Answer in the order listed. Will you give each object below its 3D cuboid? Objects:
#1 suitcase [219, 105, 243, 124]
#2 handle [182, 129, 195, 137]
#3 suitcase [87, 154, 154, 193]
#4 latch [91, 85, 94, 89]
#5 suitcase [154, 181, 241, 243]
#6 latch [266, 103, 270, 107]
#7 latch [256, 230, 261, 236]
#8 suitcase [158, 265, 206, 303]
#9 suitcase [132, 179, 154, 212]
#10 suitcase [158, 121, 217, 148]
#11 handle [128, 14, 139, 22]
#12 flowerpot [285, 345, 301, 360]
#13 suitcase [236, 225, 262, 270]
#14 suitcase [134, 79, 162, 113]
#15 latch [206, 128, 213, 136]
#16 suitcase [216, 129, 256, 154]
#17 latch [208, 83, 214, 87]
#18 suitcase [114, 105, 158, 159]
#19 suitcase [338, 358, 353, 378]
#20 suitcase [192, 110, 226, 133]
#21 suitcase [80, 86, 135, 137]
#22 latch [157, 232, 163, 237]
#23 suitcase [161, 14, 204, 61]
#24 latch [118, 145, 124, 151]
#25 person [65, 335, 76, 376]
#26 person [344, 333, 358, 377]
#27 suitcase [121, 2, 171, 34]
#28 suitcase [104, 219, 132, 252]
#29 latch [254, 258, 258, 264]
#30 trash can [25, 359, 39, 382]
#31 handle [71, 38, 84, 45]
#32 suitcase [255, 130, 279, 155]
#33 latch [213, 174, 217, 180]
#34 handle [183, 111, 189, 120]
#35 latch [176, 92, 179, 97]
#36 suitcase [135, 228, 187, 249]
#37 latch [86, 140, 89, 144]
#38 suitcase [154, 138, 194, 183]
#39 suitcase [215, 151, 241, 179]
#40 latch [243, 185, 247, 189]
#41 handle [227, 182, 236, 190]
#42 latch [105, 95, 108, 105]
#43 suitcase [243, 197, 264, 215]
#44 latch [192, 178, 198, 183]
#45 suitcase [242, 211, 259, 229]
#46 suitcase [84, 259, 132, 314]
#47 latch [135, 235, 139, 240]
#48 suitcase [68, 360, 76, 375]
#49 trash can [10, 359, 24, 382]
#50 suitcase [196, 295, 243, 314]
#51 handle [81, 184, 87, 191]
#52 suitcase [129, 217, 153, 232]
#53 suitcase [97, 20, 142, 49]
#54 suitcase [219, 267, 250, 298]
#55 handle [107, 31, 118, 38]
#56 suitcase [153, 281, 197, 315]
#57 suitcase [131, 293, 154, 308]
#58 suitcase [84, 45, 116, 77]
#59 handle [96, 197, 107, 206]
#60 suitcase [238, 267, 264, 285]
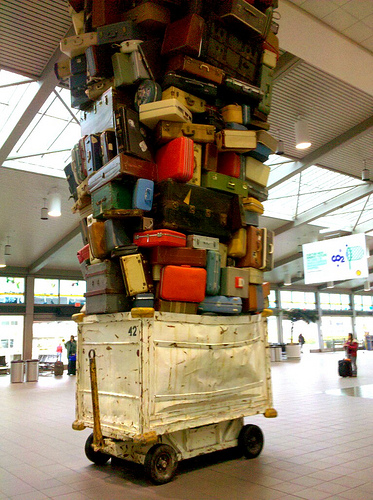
[{"bbox_3d":[0.568,-1.676,5.305,0.258,0.192,0.240,1,-8,-7],"label":"suitcase"},{"bbox_3d":[0.013,-1.265,4.535,0.149,0.122,0.033,-2,5,-13],"label":"handle"},{"bbox_3d":[-0.696,-0.764,4.477,0.563,0.159,0.547,-22,-15,39],"label":"suitcase"},{"bbox_3d":[-1.100,-1.915,4.923,0.056,0.048,0.018,3,3,15],"label":"latch"},{"bbox_3d":[-0.011,-0.418,4.844,1.110,0.478,0.648,9,-9,-43],"label":"suitcase"},{"bbox_3d":[1.089,-1.933,5.618,0.058,0.027,0.051,3,-8,-6],"label":"latch"},{"bbox_3d":[0.878,-0.213,5.163,0.074,0.052,0.103,-2,0,18],"label":"latch"},{"bbox_3d":[-0.089,0.362,4.374,0.624,0.437,0.203,11,-5,-35],"label":"suitcase"},{"bbox_3d":[-0.441,-0.557,4.302,0.203,0.312,0.199,3,-11,-16],"label":"suitcase"},{"bbox_3d":[0.030,-1.271,4.562,0.403,0.095,0.405,4,4,42],"label":"suitcase"},{"bbox_3d":[-0.582,-2.550,4.630,0.127,0.111,0.035,9,1,12],"label":"handle"},{"bbox_3d":[7.769,7.421,30.595,1.004,0.964,1.045,-9,-15,41],"label":"flowerpot"},{"bbox_3d":[0.768,-0.050,5.228,0.208,0.512,0.367,7,-3,-34],"label":"suitcase"},{"bbox_3d":[-0.418,-1.643,4.502,0.134,0.313,0.346,5,2,-39],"label":"suitcase"},{"bbox_3d":[0.257,-1.327,4.732,0.081,0.053,0.105,-1,13,4],"label":"latch"},{"bbox_3d":[0.586,-1.245,4.965,0.324,0.199,0.423,0,1,32],"label":"suitcase"},{"bbox_3d":[0.275,-1.858,4.743,0.041,0.035,0.011,-1,-9,-28],"label":"latch"},{"bbox_3d":[-0.547,-1.190,4.451,0.203,0.486,0.569,-8,-4,31],"label":"suitcase"},{"bbox_3d":[5.603,4.169,14.829,0.479,0.613,0.499,-4,-11,18],"label":"suitcase"},{"bbox_3d":[0.244,-1.489,5.019,0.254,0.133,0.323,5,10,40],"label":"suitcase"},{"bbox_3d":[-0.894,-1.518,4.949,0.417,0.391,0.701,4,-10,-44],"label":"suitcase"},{"bbox_3d":[-0.262,-0.156,4.164,0.049,0.061,0.023,-1,-15,12],"label":"latch"},{"bbox_3d":[-0.040,-2.286,4.578,0.253,0.399,0.496,10,-14,-42],"label":"suitcase"},{"bbox_3d":[-0.665,-1.038,4.258,0.048,0.034,0.067,0,-2,-19],"label":"latch"},{"bbox_3d":[-5.681,5.177,20.602,0.482,1.874,1.037,3,-11,-17],"label":"person"},{"bbox_3d":[6.306,3.956,16.140,0.468,1.463,2.990,-4,-11,21],"label":"person"},{"bbox_3d":[-0.423,-2.551,4.611,0.455,0.294,0.210,-10,2,23],"label":"suitcase"},{"bbox_3d":[-0.792,-0.181,4.433,0.226,0.293,0.206,11,-12,5],"label":"suitcase"},{"bbox_3d":[0.842,0.125,5.103,0.057,0.076,0.045,2,-7,-18],"label":"latch"},{"bbox_3d":[-6.837,5.331,18.634,0.513,0.890,0.546,4,-12,-22],"label":"trash can"},{"bbox_3d":[-1.225,-2.350,4.742,0.105,0.023,0.097,1,7,3],"label":"handle"},{"bbox_3d":[0.999,-1.450,5.598,0.175,0.248,0.397,-9,-11,43],"label":"suitcase"},{"bbox_3d":[0.333,-0.841,4.803,0.045,0.053,0.014,17,-2,-10],"label":"latch"},{"bbox_3d":[-0.009,-1.422,4.462,0.059,0.056,0.064,8,18,27],"label":"handle"},{"bbox_3d":[-0.091,-1.669,4.515,0.006,0.050,0.023,-9,-14,38],"label":"latch"},{"bbox_3d":[-0.266,-0.113,4.275,0.516,0.165,0.272,1,-10,-5],"label":"suitcase"},{"bbox_3d":[-1.126,-1.237,4.794,0.026,0.022,0.024,1,-3,37],"label":"latch"},{"bbox_3d":[-0.165,-0.953,4.559,0.192,0.439,0.563,9,-9,-40],"label":"suitcase"},{"bbox_3d":[0.510,-1.040,5.120,0.405,0.390,0.142,-4,-7,43],"label":"suitcase"},{"bbox_3d":[0.715,-0.780,5.199,0.056,0.046,0.012,-1,-3,-26],"label":"latch"},{"bbox_3d":[0.528,-0.760,4.988,0.087,0.061,0.125,-4,0,45],"label":"handle"},{"bbox_3d":[-0.894,-1.658,4.659,0.017,0.101,0.072,4,-12,-21],"label":"latch"},{"bbox_3d":[0.842,-0.545,5.259,0.218,0.123,0.284,1,-11,36],"label":"suitcase"},{"bbox_3d":[0.093,-0.784,4.697,0.058,0.036,0.015,-6,8,-33],"label":"latch"},{"bbox_3d":[0.777,-0.368,5.165,0.134,0.156,0.250,-5,-7,42],"label":"suitcase"},{"bbox_3d":[-0.800,0.425,4.605,0.454,0.479,0.549,5,-12,-37],"label":"suitcase"},{"bbox_3d":[-0.511,-0.133,4.344,0.030,0.040,0.048,0,0,-12],"label":"latch"},{"bbox_3d":[-5.600,5.732,20.553,0.309,0.738,0.905,4,-11,-18],"label":"suitcase"},{"bbox_3d":[-7.280,5.250,18.243,0.527,0.895,0.670,-10,-15,43],"label":"trash can"},{"bbox_3d":[0.340,0.600,4.698,0.672,0.187,0.107,7,-13,-35],"label":"suitcase"},{"bbox_3d":[-1.217,-0.744,4.992,0.045,0.112,0.080,11,9,-33],"label":"handle"},{"bbox_3d":[-0.427,-0.265,4.421,0.285,0.139,0.200,-4,-7,36],"label":"suitcase"},{"bbox_3d":[-0.716,-2.296,4.545,0.480,0.255,0.220,-5,7,20],"label":"suitcase"},{"bbox_3d":[0.553,0.386,4.878,0.217,0.327,0.395,-6,-14,39],"label":"suitcase"},{"bbox_3d":[-0.791,-2.304,4.483,0.091,0.049,0.034,14,4,31],"label":"handle"},{"bbox_3d":[-0.135,0.469,4.274,0.389,0.324,0.118,5,-6,-19],"label":"suitcase"},{"bbox_3d":[-0.432,0.510,4.321,0.248,0.132,0.171,-2,4,14],"label":"suitcase"},{"bbox_3d":[-0.962,-2.113,4.712,0.208,0.328,0.351,-24,35,-20],"label":"suitcase"},{"bbox_3d":[-0.882,-0.508,4.382,0.138,0.031,0.029,-24,21,51],"label":"handle"},{"bbox_3d":[0.813,0.330,5.207,0.193,0.200,0.317,-5,-8,33],"label":"suitcase"}]
